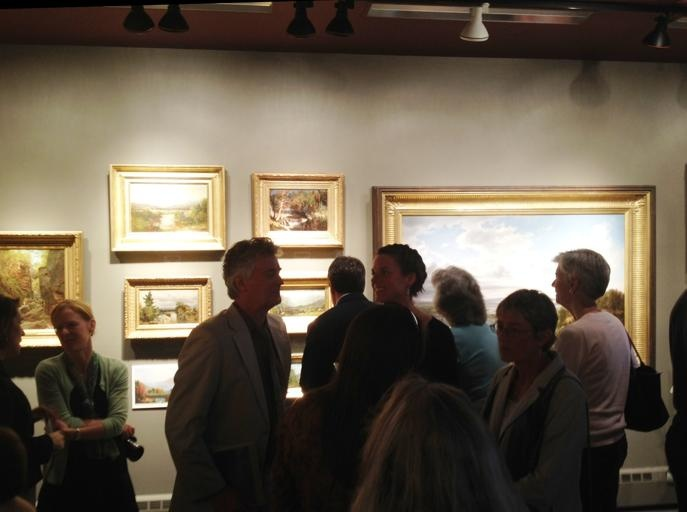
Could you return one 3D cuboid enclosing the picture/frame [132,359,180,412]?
[{"bbox_3d":[-0.874,0.590,2.866,0.010,0.255,0.257,-13,-16,42],"label":"picture/frame"}]

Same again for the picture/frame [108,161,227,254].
[{"bbox_3d":[-0.853,-0.233,3.041,0.425,0.313,0.032,-1,0,9],"label":"picture/frame"}]

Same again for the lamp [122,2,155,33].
[{"bbox_3d":[-0.834,-0.947,2.549,0.107,0.115,0.109,-1,-1,3],"label":"lamp"}]

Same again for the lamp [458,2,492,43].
[{"bbox_3d":[0.520,-0.911,2.451,0.123,0.148,0.059,-3,2,-28],"label":"lamp"}]

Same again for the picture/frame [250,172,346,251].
[{"bbox_3d":[-0.221,-0.208,2.967,0.358,0.296,0.028,1,4,-2],"label":"picture/frame"}]

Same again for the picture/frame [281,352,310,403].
[{"bbox_3d":[-0.192,0.477,2.425,0.010,0.135,0.100,-3,-11,39],"label":"picture/frame"}]

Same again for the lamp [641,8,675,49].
[{"bbox_3d":[1.221,-0.872,2.426,0.128,0.132,0.048,-3,2,-20],"label":"lamp"}]

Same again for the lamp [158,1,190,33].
[{"bbox_3d":[-0.674,-0.950,2.513,0.101,0.111,0.105,15,19,26],"label":"lamp"}]
